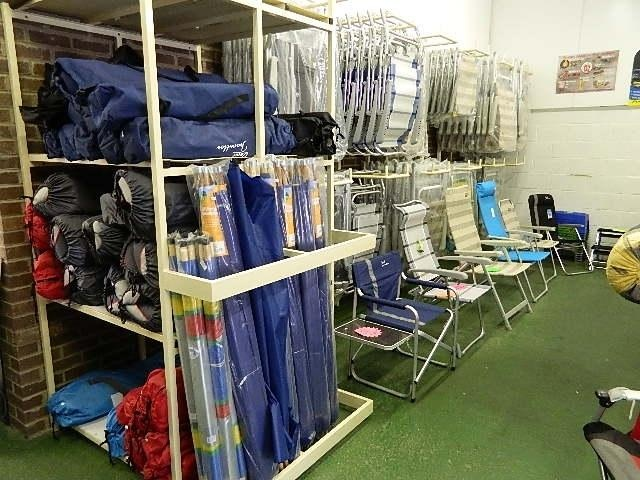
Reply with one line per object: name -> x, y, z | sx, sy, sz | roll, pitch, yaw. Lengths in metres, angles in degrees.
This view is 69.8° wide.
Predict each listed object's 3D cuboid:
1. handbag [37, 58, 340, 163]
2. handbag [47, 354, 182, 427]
handbag -> -0.701, -0.748, 2.792 | 0.936, 0.424, 1.134 | 21, 23, 36
handbag -> -1.450, 1.051, 3.402 | 0.482, 0.268, 0.867 | 15, 26, 42
